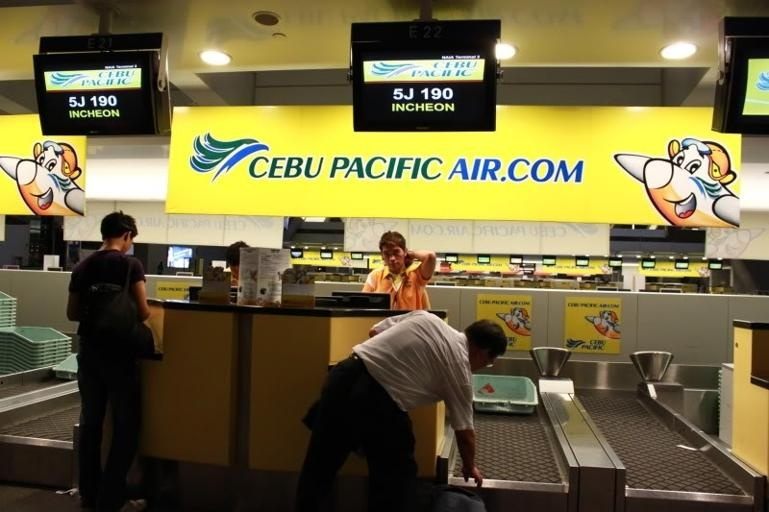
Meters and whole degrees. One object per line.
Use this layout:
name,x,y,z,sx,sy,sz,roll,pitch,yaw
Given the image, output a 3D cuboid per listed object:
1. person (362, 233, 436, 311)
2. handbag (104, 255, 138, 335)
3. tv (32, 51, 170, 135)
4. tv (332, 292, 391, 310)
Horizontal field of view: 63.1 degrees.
person,0.144,0.142,6.129,0.629,0.718,0.520,1,0,-3
handbag,-2.145,0.342,5.119,0.145,0.666,0.239,1,0,34
tv,-2.534,-1.456,5.584,1.201,0.801,0.322,3,-2,14
tv,-0.216,0.384,5.472,0.422,0.128,0.329,1,0,41
